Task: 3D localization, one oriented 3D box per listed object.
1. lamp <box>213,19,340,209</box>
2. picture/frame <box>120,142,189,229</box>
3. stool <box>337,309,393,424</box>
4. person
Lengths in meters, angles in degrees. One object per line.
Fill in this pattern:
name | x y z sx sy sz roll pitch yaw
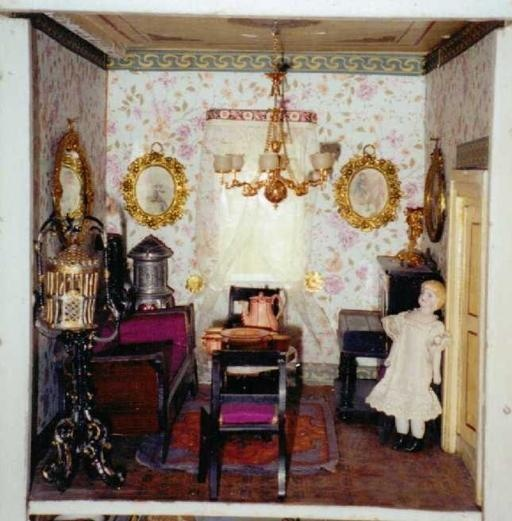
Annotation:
lamp | 0.180 -1.336 5.855 0.965 1.695 0.887 3 2 28
picture/frame | -0.985 -0.761 6.448 0.811 0.976 0.050 1 12 5
stool | 0.951 0.946 5.808 0.476 0.737 0.875 4 4 12
person | 1.106 0.785 4.843 0.539 1.229 0.432 3 13 11
